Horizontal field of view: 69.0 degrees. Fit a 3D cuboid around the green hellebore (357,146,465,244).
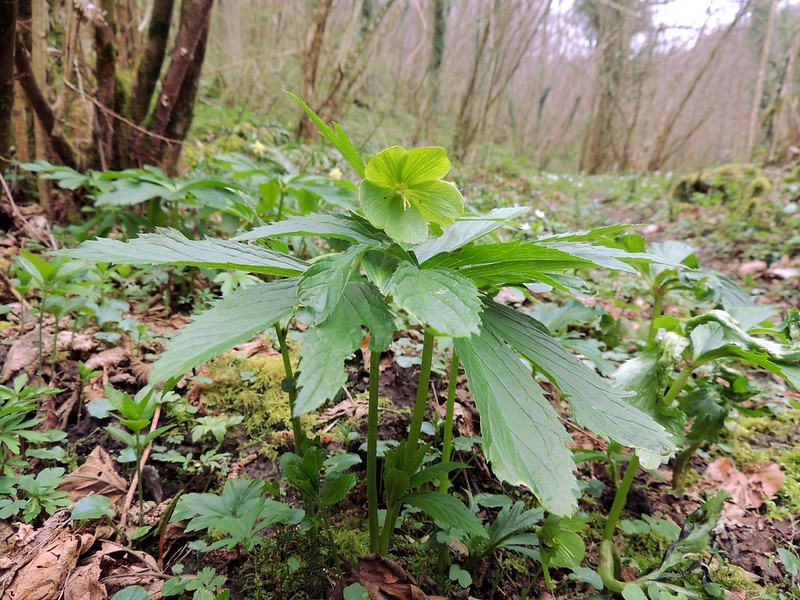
[{"bbox_3d":[0.007,-0.455,2.405,0.449,0.399,0.154,-35,71,-30],"label":"green hellebore"}]
